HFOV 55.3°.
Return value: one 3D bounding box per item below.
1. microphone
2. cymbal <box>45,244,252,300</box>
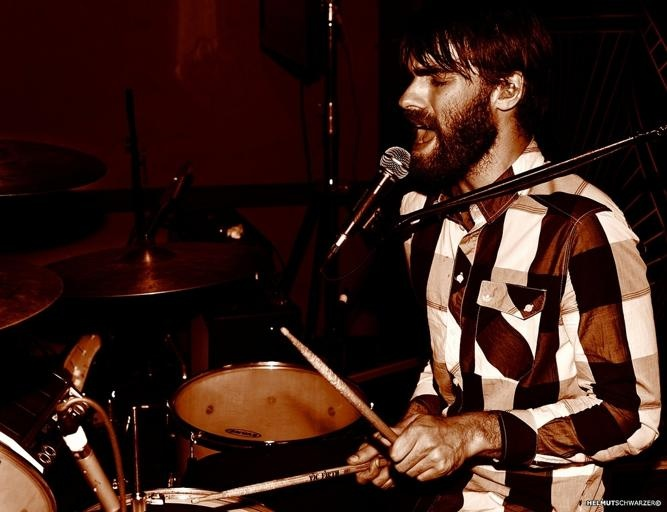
[{"bbox_3d":[0.123,-0.227,2.227,0.240,0.405,0.259,4,20,6],"label":"microphone"},{"bbox_3d":[-0.745,0.032,2.692,0.851,0.115,0.499,0,29,-14],"label":"cymbal"}]
